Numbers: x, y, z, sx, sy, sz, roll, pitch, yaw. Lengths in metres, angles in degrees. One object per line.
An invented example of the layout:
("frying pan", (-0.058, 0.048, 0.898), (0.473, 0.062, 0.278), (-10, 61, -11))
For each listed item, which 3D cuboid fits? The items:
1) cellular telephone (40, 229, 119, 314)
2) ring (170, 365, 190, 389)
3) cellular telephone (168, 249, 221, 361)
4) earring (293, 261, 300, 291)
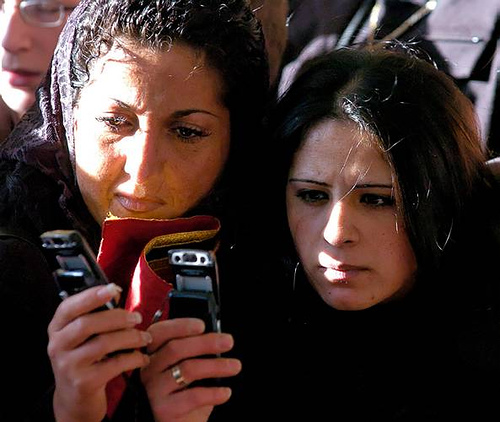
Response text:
("cellular telephone", (-0.382, 0.112, 1.212), (0.131, 0.188, 0.055), (4, 32, 8))
("ring", (-0.169, 0.397, 1.355), (0.024, 0.061, 0.048), (-23, 38, -32))
("cellular telephone", (-0.130, 0.238, 1.311), (0.115, 0.308, 0.098), (0, 27, 5))
("earring", (0.138, 0.202, 1.786), (0.007, 0.086, 0.012), (9, 6, -32))
